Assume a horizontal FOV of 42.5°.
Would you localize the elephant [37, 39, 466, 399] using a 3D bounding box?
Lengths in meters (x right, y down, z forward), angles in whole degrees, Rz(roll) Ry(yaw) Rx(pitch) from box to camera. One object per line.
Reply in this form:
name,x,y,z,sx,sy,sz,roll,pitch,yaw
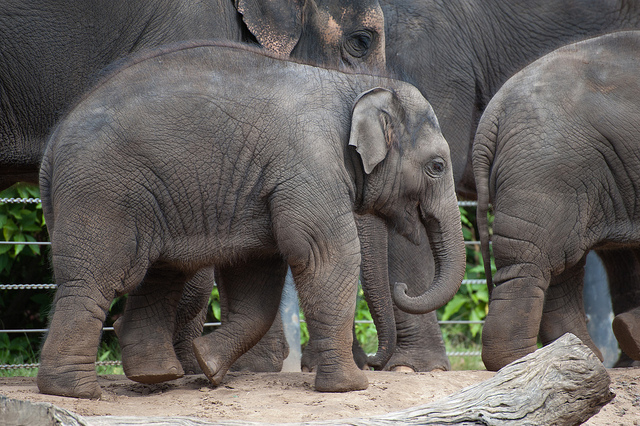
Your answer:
elephant,-0.272,0.053,4.121,2.083,1.709,0.830,-1,5,-17
